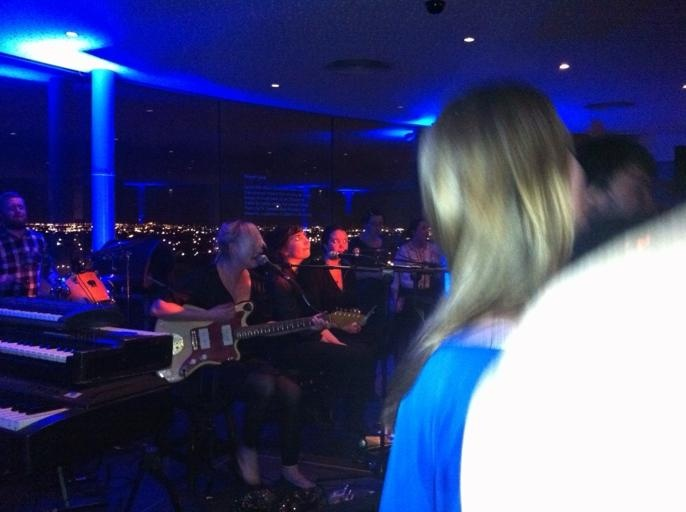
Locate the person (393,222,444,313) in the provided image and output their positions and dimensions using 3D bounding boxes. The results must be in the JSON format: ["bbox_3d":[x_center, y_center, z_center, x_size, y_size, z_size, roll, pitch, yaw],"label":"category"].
[{"bbox_3d":[0.612,0.165,4.913,0.347,0.977,0.259,0,40,2],"label":"person"}]

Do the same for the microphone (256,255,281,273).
[{"bbox_3d":[-0.465,0.049,3.762,0.052,0.057,0.232,16,1,10],"label":"microphone"}]

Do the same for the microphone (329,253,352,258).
[{"bbox_3d":[-0.022,-0.006,3.681,0.083,0.024,0.060,-3,-1,13],"label":"microphone"}]

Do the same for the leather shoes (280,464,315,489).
[{"bbox_3d":[-0.208,1.122,3.093,0.222,0.094,0.072,12,-1,6],"label":"leather shoes"}]

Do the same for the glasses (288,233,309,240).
[{"bbox_3d":[-0.327,-0.139,4.331,0.096,0.038,0.105,-3,5,4],"label":"glasses"}]

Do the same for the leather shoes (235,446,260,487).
[{"bbox_3d":[-0.489,1.058,3.109,0.083,0.228,0.095,-6,-7,38],"label":"leather shoes"}]

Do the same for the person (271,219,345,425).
[{"bbox_3d":[-0.251,0.429,3.924,0.141,1.264,0.525,-12,-8,36],"label":"person"}]
